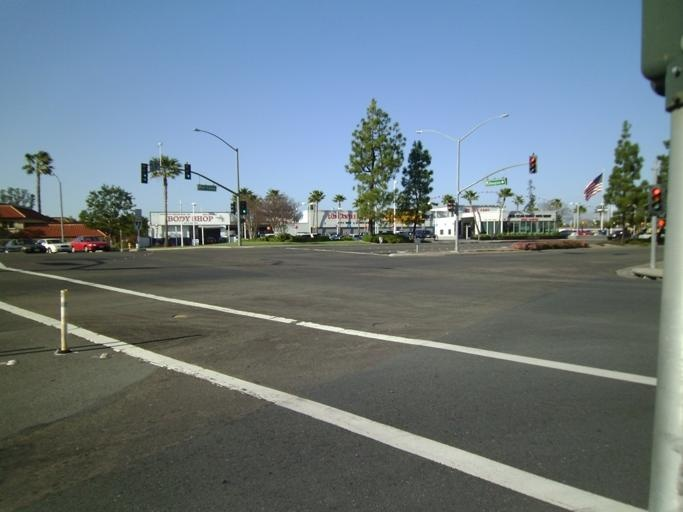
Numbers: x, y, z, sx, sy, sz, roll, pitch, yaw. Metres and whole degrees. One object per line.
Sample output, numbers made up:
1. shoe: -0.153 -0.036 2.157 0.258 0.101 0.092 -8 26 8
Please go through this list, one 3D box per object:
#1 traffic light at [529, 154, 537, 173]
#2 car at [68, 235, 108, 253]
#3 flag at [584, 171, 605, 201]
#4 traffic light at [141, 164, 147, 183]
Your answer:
1. traffic light: 12.356 -5.971 37.662 0.305 1.075 0.992 1 11 9
2. car: -19.550 -0.874 45.032 1.361 1.093 3.059 0 -3 -45
3. flag: 23.622 -6.539 54.771 0.663 2.472 1.921 -3 11 -12
4. traffic light: -12.735 -5.385 37.875 0.348 1.147 0.679 -5 12 -24
